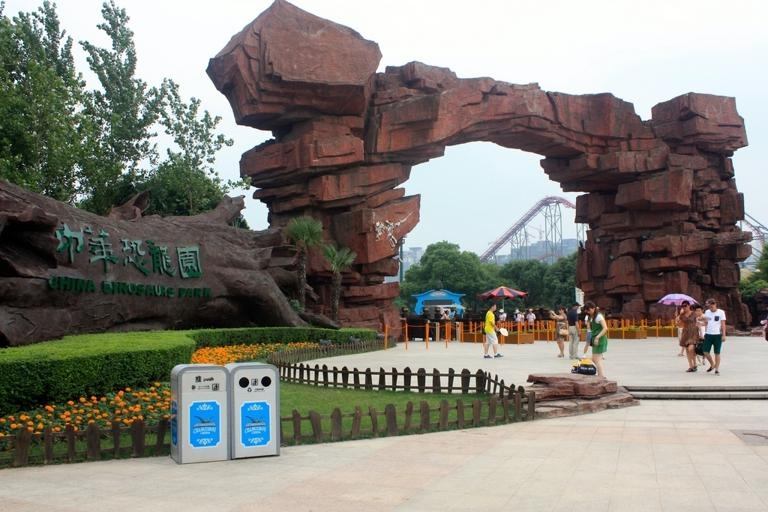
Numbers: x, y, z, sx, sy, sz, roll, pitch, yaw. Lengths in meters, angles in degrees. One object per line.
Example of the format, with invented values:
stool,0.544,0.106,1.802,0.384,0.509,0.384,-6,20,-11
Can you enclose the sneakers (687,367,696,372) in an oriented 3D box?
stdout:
sneakers,8.667,3.202,19.427,0.294,0.113,0.103,2,-8,1

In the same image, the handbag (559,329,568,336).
handbag,6.012,2.562,23.083,0.185,0.232,0.253,2,-8,-15
